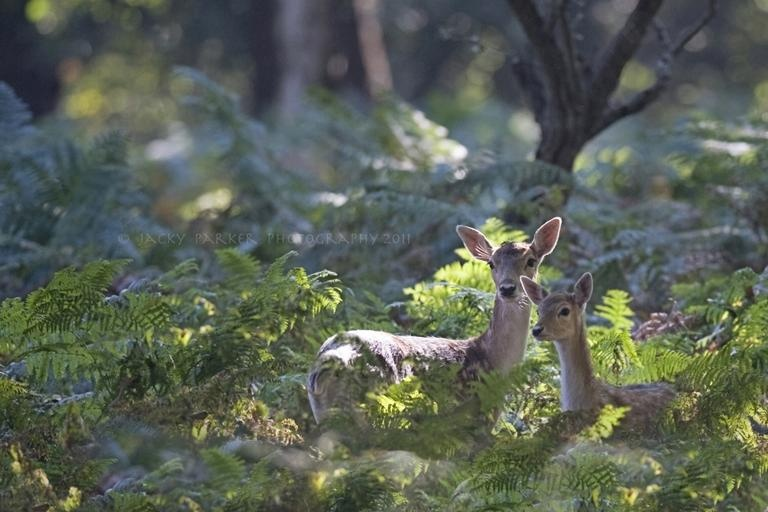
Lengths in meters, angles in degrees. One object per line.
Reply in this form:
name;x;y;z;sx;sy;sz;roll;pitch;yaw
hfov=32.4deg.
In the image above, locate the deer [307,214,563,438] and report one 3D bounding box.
deer;0.390;0.714;9.063;1.987;1.797;0.837;-1;2;-34
